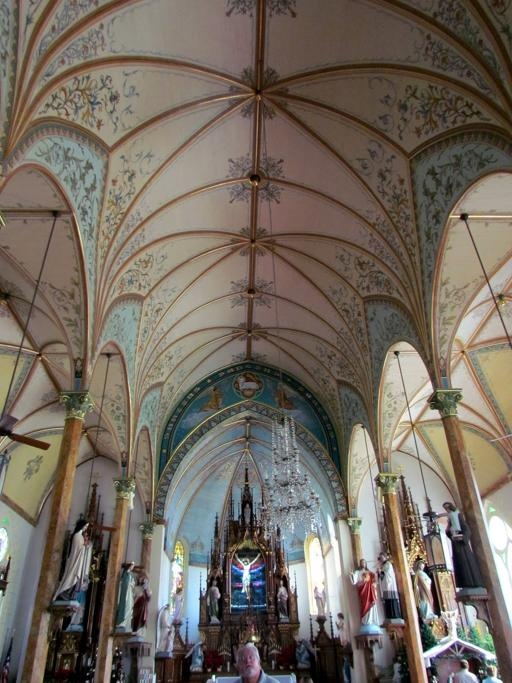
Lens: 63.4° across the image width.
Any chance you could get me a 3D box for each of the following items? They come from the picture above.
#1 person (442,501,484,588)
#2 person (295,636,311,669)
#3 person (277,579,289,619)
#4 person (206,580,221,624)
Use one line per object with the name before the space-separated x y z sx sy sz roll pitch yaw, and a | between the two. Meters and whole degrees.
person | 2.859 2.858 5.791 0.339 1.055 0.865 -14 -33 19
person | 1.733 11.127 14.960 0.423 0.923 0.626 0 -63 8
person | 1.070 10.428 16.757 0.472 1.385 0.308 2 -30 -7
person | -1.692 10.476 16.797 0.543 1.577 0.370 1 -30 -5
